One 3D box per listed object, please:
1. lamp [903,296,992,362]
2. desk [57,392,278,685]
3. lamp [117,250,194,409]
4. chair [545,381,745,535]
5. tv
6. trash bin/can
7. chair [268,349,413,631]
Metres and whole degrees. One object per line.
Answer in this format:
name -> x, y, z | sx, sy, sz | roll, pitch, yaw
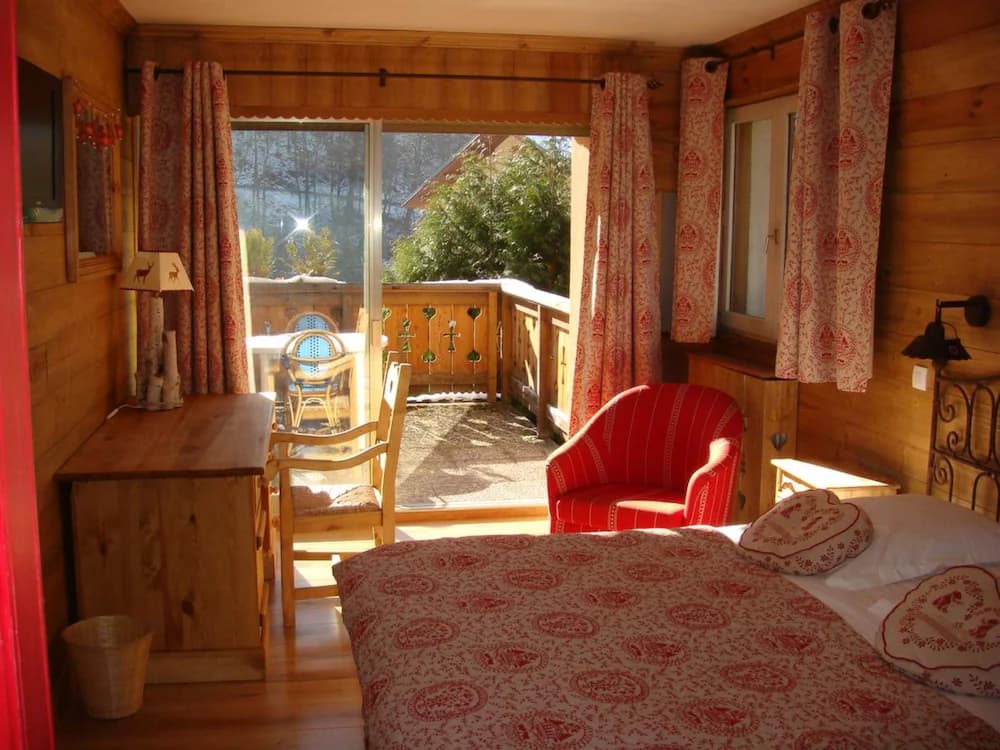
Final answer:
lamp -> 1.683, -0.180, 2.994 | 0.264, 0.230, 0.232 | 0, 6, 9
desk -> -1.484, 0.682, 3.736 | 0.712, 0.906, 1.454 | -1, 10, -17
lamp -> -1.686, -0.238, 3.870 | 0.311, 0.756, 0.447 | -8, 13, -25
chair -> 0.746, 0.404, 4.018 | 0.894, 0.905, 0.798 | 1, -4, 32
tv -> -1.674, -0.842, 2.850 | 0.104, 0.540, 0.482 | -7, 13, -18
trash bin/can -> -1.446, 1.067, 2.939 | 0.379, 0.349, 0.347 | -1, 6, -35
chair -> -0.811, 0.554, 3.838 | 0.807, 1.082, 0.766 | -3, 5, -1
